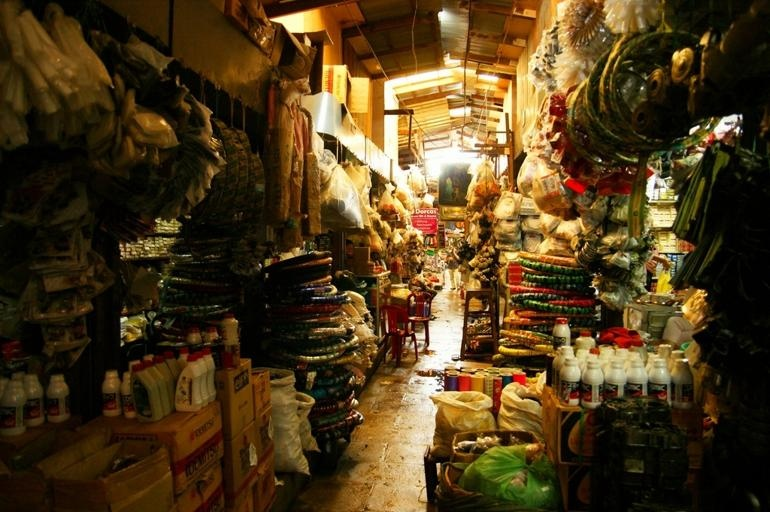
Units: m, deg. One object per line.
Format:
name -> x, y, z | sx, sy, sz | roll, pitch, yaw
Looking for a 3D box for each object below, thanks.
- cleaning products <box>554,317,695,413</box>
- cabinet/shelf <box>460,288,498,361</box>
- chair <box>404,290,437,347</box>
cleaning products -> 1.340, 0.669, 3.452 | 0.754, 0.340, 0.365 | 2, 7, 20
cabinet/shelf -> 1.286, 0.879, 8.313 | 0.477, 0.792, 0.471 | -1, -2, 13
chair -> 0.521, 0.897, 9.050 | 0.620, 1.174, 0.734 | 0, -3, 6
